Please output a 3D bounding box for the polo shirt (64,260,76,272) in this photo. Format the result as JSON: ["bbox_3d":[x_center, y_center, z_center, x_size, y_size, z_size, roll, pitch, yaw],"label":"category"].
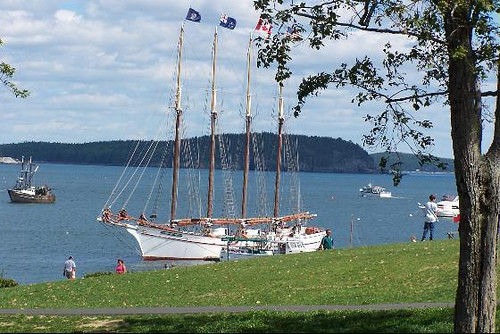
[{"bbox_3d":[-19.681,11.077,120.278,0.849,1.290,0.860,0,-1,-10],"label":"polo shirt"}]
